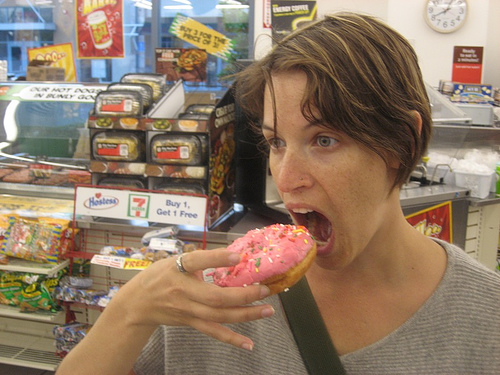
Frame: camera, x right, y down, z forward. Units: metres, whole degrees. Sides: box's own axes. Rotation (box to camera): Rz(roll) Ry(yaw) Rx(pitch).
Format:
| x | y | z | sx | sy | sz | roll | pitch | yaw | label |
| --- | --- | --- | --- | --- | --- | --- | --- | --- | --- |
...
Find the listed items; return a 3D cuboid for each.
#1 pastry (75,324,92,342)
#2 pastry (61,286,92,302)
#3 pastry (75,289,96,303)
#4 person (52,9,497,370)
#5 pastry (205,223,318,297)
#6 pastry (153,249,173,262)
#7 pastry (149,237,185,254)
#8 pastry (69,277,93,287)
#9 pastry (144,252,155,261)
| x | y | z | sx | sy | sz | roll | pitch | yaw | label |
| --- | --- | --- | --- | --- | --- | --- | --- | --- | --- |
| -1.016 | 0.882 | 2.546 | 0.087 | 0.082 | 0.212 | -2 | 7 | -20 | pastry |
| -1.090 | 0.637 | 2.509 | 0.072 | 0.090 | 0.034 | 0 | 5 | 7 | pastry |
| -0.982 | 0.645 | 2.510 | 0.084 | 0.075 | 0.103 | 5 | 8 | 42 | pastry |
| 0.139 | 0.062 | 1.083 | 0.983 | 0.981 | 0.509 | 2 | 6 | 16 | person |
| 0.039 | 0.177 | 1.077 | 0.274 | 0.086 | 0.232 | -27 | 21 | -36 | pastry |
| -0.474 | 0.361 | 2.232 | 0.100 | 0.062 | 0.044 | 2 | 6 | 22 | pastry |
| -0.453 | 0.308 | 2.256 | 0.129 | 0.033 | 0.089 | 5 | 15 | 0 | pastry |
| -1.023 | 0.565 | 2.529 | 0.086 | 0.027 | 0.066 | 2 | 4 | -16 | pastry |
| -0.543 | 0.370 | 2.253 | 0.047 | 0.045 | 0.011 | 3 | -10 | 18 | pastry |
